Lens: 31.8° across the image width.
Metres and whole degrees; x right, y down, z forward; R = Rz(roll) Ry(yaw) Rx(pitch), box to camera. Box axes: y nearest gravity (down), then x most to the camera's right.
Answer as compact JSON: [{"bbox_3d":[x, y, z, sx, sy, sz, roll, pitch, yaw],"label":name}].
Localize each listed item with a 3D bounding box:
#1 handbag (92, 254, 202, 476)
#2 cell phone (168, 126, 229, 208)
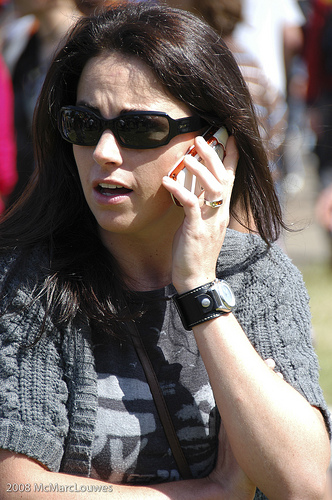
[{"bbox_3d":[-0.060,0.394,1.856,0.099,0.062,0.790,-16,68,-31],"label":"handbag"},{"bbox_3d":[0.165,-0.291,1.961,0.079,0.177,0.309,23,63,31],"label":"cell phone"}]
